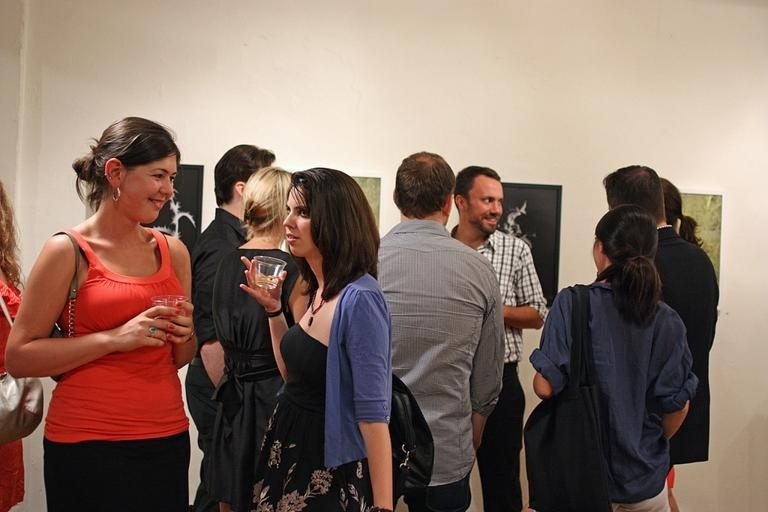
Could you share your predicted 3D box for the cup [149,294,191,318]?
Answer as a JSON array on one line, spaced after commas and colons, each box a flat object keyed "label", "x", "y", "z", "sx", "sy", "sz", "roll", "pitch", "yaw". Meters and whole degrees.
[{"label": "cup", "x": -1.044, "y": 0.235, "z": 2.893, "sx": 0.116, "sy": 0.091, "sz": 0.123, "roll": -1, "pitch": 0, "yaw": 0}]

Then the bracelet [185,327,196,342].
[{"label": "bracelet", "x": -0.987, "y": 0.403, "z": 3.008, "sx": 0.027, "sy": 0.079, "sz": 0.055, "roll": 19, "pitch": -20, "yaw": -17}]

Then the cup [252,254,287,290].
[{"label": "cup", "x": -0.611, "y": 0.088, "z": 3.037, "sx": 0.196, "sy": 0.157, "sz": 0.190, "roll": 10, "pitch": 5, "yaw": -1}]

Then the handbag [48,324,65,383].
[{"label": "handbag", "x": -1.601, "y": 0.466, "z": 2.879, "sx": 0.060, "sy": 0.296, "sz": 0.195, "roll": 1, "pitch": -2, "yaw": -29}]

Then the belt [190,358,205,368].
[{"label": "belt", "x": -1.213, "y": 0.693, "z": 3.832, "sx": 0.093, "sy": 0.075, "sz": 0.097, "roll": 2, "pitch": -11, "yaw": -5}]

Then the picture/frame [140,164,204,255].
[{"label": "picture/frame", "x": -1.569, "y": -0.407, "z": 4.486, "sx": 0.394, "sy": 0.598, "sz": 0.031, "roll": -7, "pitch": -23, "yaw": -24}]

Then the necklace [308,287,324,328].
[{"label": "necklace", "x": -0.312, "y": 0.251, "z": 2.878, "sx": 0.025, "sy": 0.179, "sz": 0.092, "roll": 27, "pitch": -26, "yaw": -36}]
